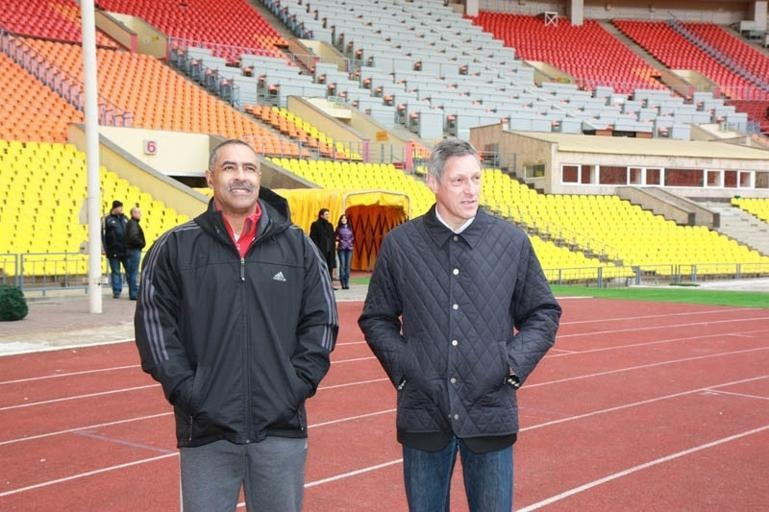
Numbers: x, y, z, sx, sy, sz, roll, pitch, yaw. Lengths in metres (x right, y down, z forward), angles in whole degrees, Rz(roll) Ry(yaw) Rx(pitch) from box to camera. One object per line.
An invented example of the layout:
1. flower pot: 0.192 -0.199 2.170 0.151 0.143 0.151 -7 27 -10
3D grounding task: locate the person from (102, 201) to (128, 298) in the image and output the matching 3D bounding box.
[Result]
1. person: -5.844 -0.130 19.379 0.532 2.212 1.017 -2 6 -18

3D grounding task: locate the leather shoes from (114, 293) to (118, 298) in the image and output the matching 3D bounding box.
1. leather shoes: -5.951 0.869 19.800 0.080 0.098 0.222 0 -7 -22
